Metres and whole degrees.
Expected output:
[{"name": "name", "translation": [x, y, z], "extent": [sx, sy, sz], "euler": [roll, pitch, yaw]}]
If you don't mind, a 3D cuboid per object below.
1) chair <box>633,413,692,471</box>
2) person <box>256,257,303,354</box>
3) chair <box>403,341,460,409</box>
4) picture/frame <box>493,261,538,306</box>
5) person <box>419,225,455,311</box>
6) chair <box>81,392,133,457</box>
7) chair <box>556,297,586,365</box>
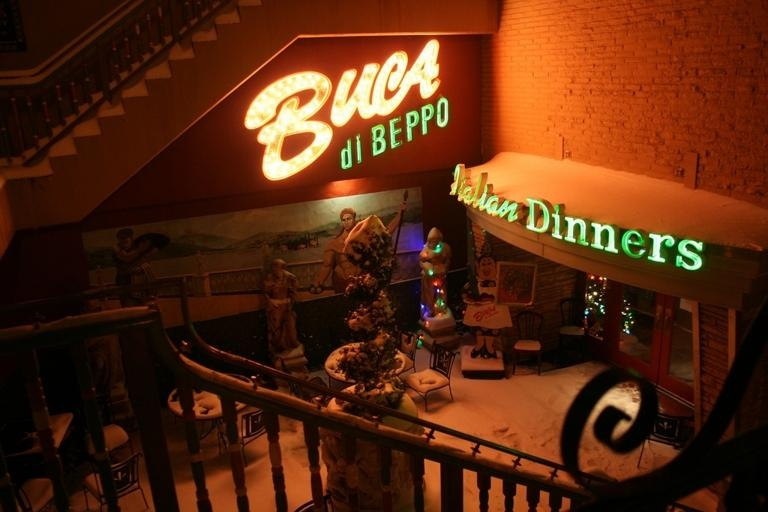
[{"name": "chair", "translation": [4.351, 2.802, 9.690], "extent": [0.782, 1.038, 0.865], "euler": [3, 11, 26]}, {"name": "person", "translation": [-1.985, 0.974, 11.947], "extent": [0.636, 1.899, 0.285], "euler": [-5, 11, -12]}, {"name": "chair", "translation": [0.838, 2.204, 11.502], "extent": [0.782, 0.977, 0.703], "euler": [-8, 16, -31]}, {"name": "picture/frame", "translation": [2.422, 0.524, 11.758], "extent": [0.907, 0.911, 0.137], "euler": [0, 10, -1]}, {"name": "person", "translation": [1.029, 0.363, 12.852], "extent": [0.616, 1.907, 0.525], "euler": [-2, 11, 4]}, {"name": "chair", "translation": [-4.458, 2.960, 10.049], "extent": [0.621, 0.775, 1.686], "euler": [-7, 11, -25]}, {"name": "chair", "translation": [3.784, 1.524, 12.706], "extent": [0.564, 1.236, 0.577], "euler": [6, 20, 22]}]
